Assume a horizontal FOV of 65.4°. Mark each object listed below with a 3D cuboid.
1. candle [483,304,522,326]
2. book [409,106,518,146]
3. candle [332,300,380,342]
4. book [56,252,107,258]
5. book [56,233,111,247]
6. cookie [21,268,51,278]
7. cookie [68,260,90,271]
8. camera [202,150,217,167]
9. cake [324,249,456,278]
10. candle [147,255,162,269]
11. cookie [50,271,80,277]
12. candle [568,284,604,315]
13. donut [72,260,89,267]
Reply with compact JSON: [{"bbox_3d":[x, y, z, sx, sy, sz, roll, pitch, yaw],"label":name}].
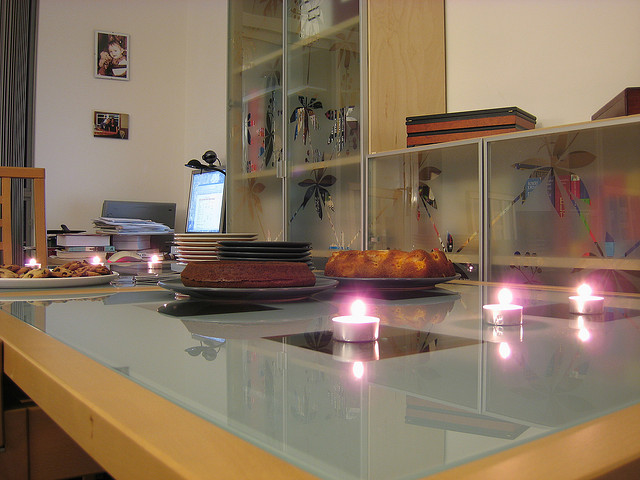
[{"bbox_3d":[0.182,0.071,0.497,0.023,0.010,0.024,0,-1,-15],"label":"candle"},{"bbox_3d":[0.506,-0.413,1.810,0.403,0.105,0.072,2,5,41],"label":"book"},{"bbox_3d":[0.027,0.069,0.440,0.029,0.023,0.028,0,0,-11],"label":"candle"},{"bbox_3d":[-1.251,0.071,2.582,0.195,0.031,0.219,-4,5,-33],"label":"book"},{"bbox_3d":[-1.282,-0.003,2.702,0.262,0.082,0.211,-4,5,-28],"label":"book"},{"bbox_3d":[-0.482,0.056,0.846,0.041,0.011,0.034,-4,5,-34],"label":"cookie"},{"bbox_3d":[-0.475,0.049,0.980,0.028,0.012,0.038,-3,3,-6],"label":"cookie"},{"bbox_3d":[-0.704,-0.520,3.158,0.072,0.135,0.374,-2,4,-13],"label":"camera"},{"bbox_3d":[0.107,0.038,0.828,0.220,0.046,0.139,-1,4,15],"label":"cake"},{"bbox_3d":[-0.408,0.052,1.224,0.032,0.024,0.032,-2,-3,38],"label":"candle"},{"bbox_3d":[-0.443,0.058,0.859,0.038,0.008,0.017,-4,5,-34],"label":"cookie"},{"bbox_3d":[0.296,0.063,0.563,0.033,0.033,0.037,0,1,5],"label":"candle"},{"bbox_3d":[-0.514,0.048,1.065,0.032,0.012,0.034,0,-4,2],"label":"donut"}]
